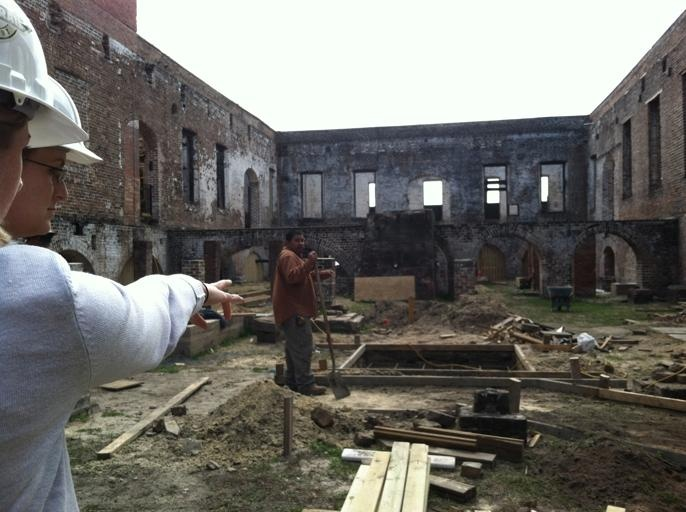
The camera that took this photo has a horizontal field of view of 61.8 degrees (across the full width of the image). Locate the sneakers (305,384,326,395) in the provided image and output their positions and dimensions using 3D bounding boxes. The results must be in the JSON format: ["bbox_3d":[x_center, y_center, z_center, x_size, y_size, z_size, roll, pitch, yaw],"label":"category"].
[{"bbox_3d":[-0.301,1.558,6.598,0.189,0.117,0.327,6,-1,12],"label":"sneakers"}]

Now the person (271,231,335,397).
[{"bbox_3d":[-0.547,0.713,6.834,0.615,1.818,0.915,7,-2,-24],"label":"person"}]

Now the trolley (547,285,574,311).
[{"bbox_3d":[5.901,1.227,15.844,0.871,0.867,0.764,1,5,14],"label":"trolley"}]
